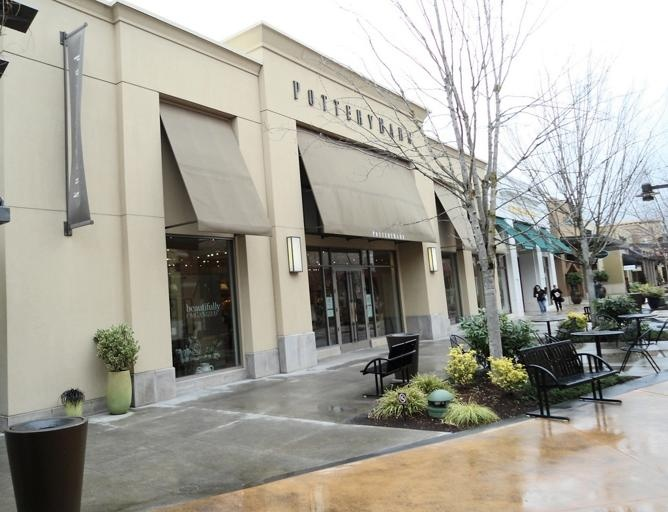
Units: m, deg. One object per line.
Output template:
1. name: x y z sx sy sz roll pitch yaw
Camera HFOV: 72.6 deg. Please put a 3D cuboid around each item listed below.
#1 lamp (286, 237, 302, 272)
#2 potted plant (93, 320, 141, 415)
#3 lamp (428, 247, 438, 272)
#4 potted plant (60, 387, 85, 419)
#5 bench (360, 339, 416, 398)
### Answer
1. lamp: -1.164 -0.061 13.828 0.163 0.808 0.556 -9 -4 39
2. potted plant: -4.601 2.413 9.755 0.822 1.853 0.623 -5 -3 -26
3. lamp: 4.321 0.129 19.876 0.242 1.008 0.661 -8 -3 34
4. potted plant: -5.275 2.970 9.207 0.414 0.619 0.510 -5 -3 -29
5. bench: 1.274 2.656 10.644 0.785 0.878 1.908 -1 -3 25
